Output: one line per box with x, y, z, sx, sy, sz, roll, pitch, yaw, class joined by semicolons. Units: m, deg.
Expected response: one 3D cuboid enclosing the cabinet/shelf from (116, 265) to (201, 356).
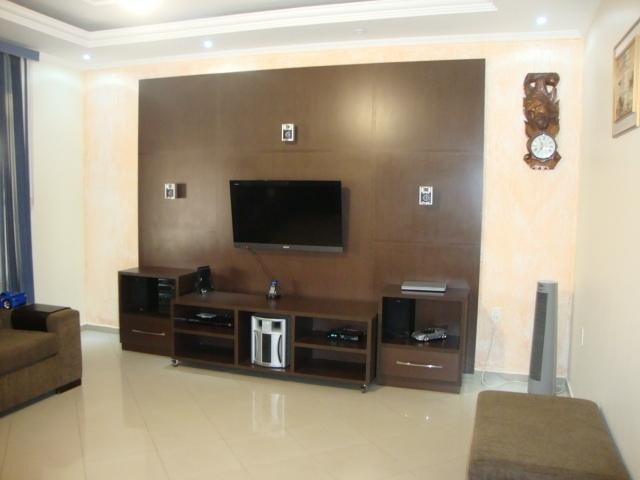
-1.763;0.769;5.569;0.747;0.877;0.476;3;5;20;cabinet/shelf

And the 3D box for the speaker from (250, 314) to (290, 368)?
-0.478;0.969;4.957;0.364;0.467;0.250;2;6;19;speaker

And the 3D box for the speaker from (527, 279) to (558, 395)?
1.863;0.854;4.426;0.170;0.799;0.215;5;0;24;speaker

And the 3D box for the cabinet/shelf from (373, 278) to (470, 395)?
0.997;0.986;4.791;0.692;0.815;0.422;2;-8;22;cabinet/shelf

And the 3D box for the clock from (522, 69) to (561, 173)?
2.012;-1.077;4.641;0.360;0.855;0.181;5;13;20;clock
